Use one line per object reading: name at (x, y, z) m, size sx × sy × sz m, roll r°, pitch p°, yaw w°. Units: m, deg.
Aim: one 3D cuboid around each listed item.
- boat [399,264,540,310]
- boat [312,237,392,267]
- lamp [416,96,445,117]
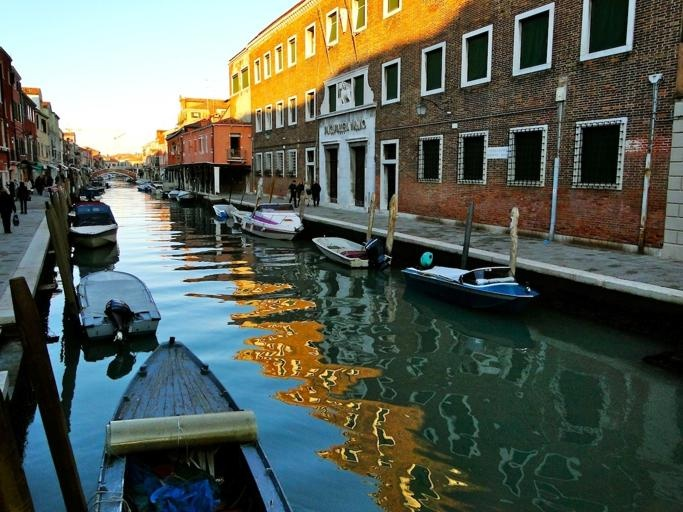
boat at (3.646, 0.852, 15.256) m, size 1.173 × 1.054 × 3.518 m, roll -12°, pitch 14°, yaw -29°
boat at (0.359, -0.142, 20.922) m, size 1.145 × 0.975 × 3.452 m, roll -14°, pitch 16°, yaw -27°
lamp at (4.101, -7.035, 24.811) m, size 0.749 × 0.909 × 2.131 m, roll -4°, pitch 13°, yaw -17°
